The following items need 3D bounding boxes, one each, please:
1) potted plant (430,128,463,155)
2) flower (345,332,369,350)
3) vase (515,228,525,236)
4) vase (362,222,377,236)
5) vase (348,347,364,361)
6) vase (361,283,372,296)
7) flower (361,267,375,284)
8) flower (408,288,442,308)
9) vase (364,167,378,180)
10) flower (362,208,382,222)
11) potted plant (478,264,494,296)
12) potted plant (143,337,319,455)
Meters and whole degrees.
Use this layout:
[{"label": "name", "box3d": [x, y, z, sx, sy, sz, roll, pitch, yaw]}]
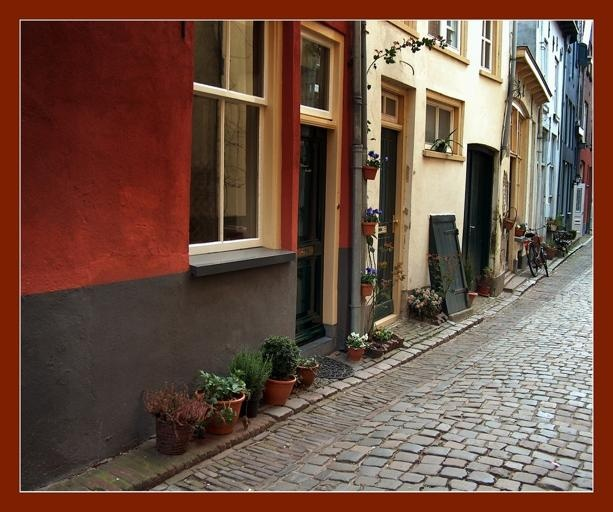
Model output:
[{"label": "potted plant", "box3d": [2.592, -2.088, 9.907, 0.592, 0.455, 0.640, -1, 8, -4]}, {"label": "flower", "box3d": [0.694, 1.141, 6.939, 0.212, 0.171, 0.226, 5, 1, 31]}, {"label": "vase", "box3d": [5.954, -0.663, 14.516, 0.300, 0.236, 0.159, -2, 6, -19]}, {"label": "vase", "box3d": [0.870, -0.380, 7.144, 0.175, 0.155, 0.160, 0, -2, -19]}, {"label": "vase", "box3d": [0.637, 1.284, 6.896, 0.157, 0.136, 0.169, 2, -2, -9]}, {"label": "vase", "box3d": [0.832, 0.459, 7.173, 0.146, 0.118, 0.151, -2, -5, 42]}, {"label": "flower", "box3d": [0.856, 0.280, 7.268, 0.171, 0.218, 0.197, 2, 1, -6]}, {"label": "flower", "box3d": [1.997, 0.710, 8.941, 0.336, 0.267, 0.388, 0, 7, -18]}, {"label": "vase", "box3d": [0.870, -1.130, 7.070, 0.164, 0.174, 0.189, 4, 7, 26]}, {"label": "flower", "box3d": [0.917, -0.570, 7.215, 0.195, 0.208, 0.208, 3, 6, 30]}, {"label": "potted plant", "box3d": [4.067, 0.598, 11.793, 0.346, 0.624, 0.227, 3, 7, 22]}, {"label": "potted plant", "box3d": [-0.739, 1.242, 4.836, 0.503, 0.655, 1.615, 5, 3, 29]}]
